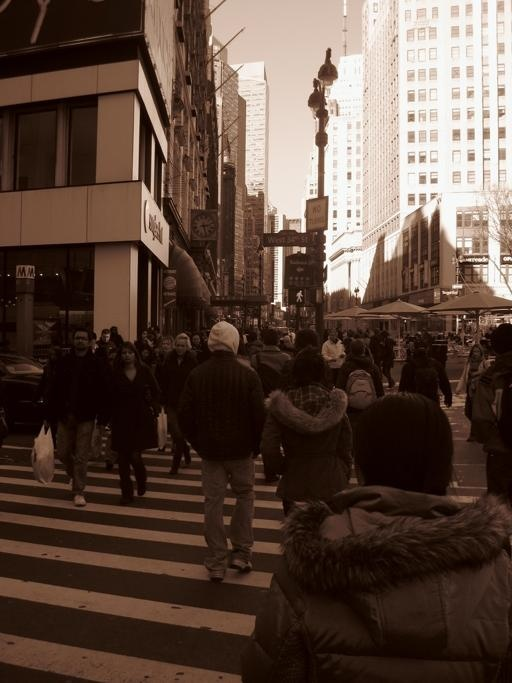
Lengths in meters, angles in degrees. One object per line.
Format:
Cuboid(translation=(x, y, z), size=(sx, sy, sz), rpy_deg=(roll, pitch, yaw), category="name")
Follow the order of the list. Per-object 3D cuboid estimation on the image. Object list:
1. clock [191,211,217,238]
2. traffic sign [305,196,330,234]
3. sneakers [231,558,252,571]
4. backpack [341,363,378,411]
Cuboid(translation=(-2.644, -5.977, 40.855), size=(0.840, 1.561, 0.212), rpy_deg=(1, -10, -2), category="clock")
Cuboid(translation=(1.250, -2.643, 16.304), size=(0.285, 0.757, 1.473), rpy_deg=(0, 0, -5), category="traffic sign")
Cuboid(translation=(-0.095, 1.592, 5.617), size=(0.058, 0.112, 0.181), rpy_deg=(0, -15, 32), category="sneakers")
Cuboid(translation=(1.050, 0.466, 8.037), size=(0.341, 0.648, 0.326), rpy_deg=(2, -39, 2), category="backpack")
